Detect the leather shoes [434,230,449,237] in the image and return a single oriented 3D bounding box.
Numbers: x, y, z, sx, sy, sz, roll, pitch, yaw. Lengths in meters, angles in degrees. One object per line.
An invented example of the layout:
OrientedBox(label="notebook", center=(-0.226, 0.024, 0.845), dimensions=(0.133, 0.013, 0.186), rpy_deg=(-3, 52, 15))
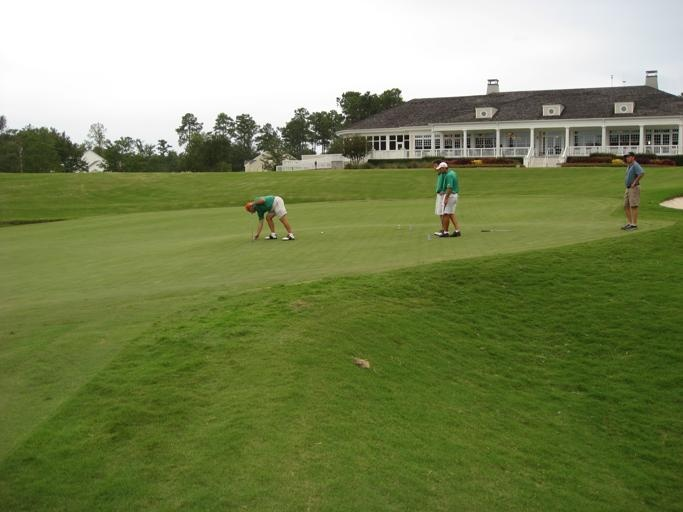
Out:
OrientedBox(label="leather shoes", center=(2.647, -0.612, 14.701), dimensions=(0.416, 0.186, 0.151), rpy_deg=(4, 2, 12))

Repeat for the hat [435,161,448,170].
OrientedBox(label="hat", center=(2.730, -2.466, 14.951), dimensions=(0.299, 0.152, 0.207), rpy_deg=(0, 7, 2))

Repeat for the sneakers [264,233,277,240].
OrientedBox(label="sneakers", center=(-1.994, -0.561, 15.185), dimensions=(0.453, 0.189, 0.153), rpy_deg=(3, 8, 22))

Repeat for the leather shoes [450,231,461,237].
OrientedBox(label="leather shoes", center=(3.045, -0.600, 14.646), dimensions=(0.366, 0.152, 0.124), rpy_deg=(3, 7, 24))

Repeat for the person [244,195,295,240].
OrientedBox(label="person", center=(-1.975, -1.072, 15.058), dimensions=(1.306, 1.183, 0.724), rpy_deg=(-4, 5, -10))

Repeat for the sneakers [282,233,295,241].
OrientedBox(label="sneakers", center=(-1.411, -0.534, 15.053), dimensions=(0.388, 0.210, 0.151), rpy_deg=(1, 5, 19))
